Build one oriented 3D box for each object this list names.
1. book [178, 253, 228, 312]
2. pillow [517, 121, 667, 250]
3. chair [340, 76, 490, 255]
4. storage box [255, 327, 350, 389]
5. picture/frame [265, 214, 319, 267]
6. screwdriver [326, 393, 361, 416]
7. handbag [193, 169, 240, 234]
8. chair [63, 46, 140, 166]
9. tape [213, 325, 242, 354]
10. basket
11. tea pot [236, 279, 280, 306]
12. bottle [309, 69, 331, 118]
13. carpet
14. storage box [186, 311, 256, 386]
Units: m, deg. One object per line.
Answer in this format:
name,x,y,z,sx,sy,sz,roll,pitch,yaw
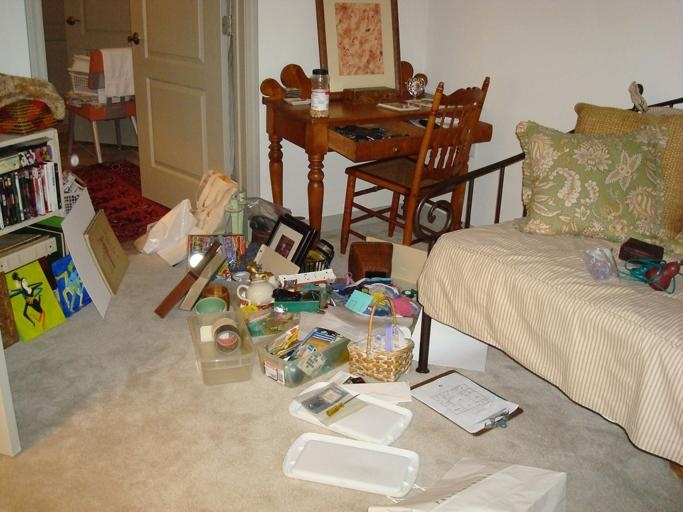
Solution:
book,-0.720,0.144,2.645,0.097,0.429,0.102,25,-14,25
pillow,1.087,-0.290,2.151,0.499,0.422,0.180,4,-18,9
chair,0.451,-0.579,3.028,0.597,1.226,0.730,-23,43,-31
storage box,-0.149,0.434,2.209,0.286,0.108,0.211,-24,37,-37
picture/frame,-0.280,-0.074,2.855,0.214,0.248,0.036,31,11,31
screwdriver,0.002,0.603,2.059,0.036,0.034,0.166,26,30,31
handbag,-0.743,-0.324,3.323,0.321,0.394,0.119,38,16,37
chair,-2.353,-1.460,4.879,0.677,1.046,0.883,-11,26,-27
tape,-0.496,0.362,2.194,0.104,0.110,0.101,1,6,-9
basket,0.166,0.347,2.208,0.263,0.355,0.268,0,15,-7
tea pot,-0.439,0.179,2.554,0.164,0.122,0.131,-2,5,-4
bottle,-0.125,-0.931,2.877,0.098,0.240,0.172,-1,23,-5
carpet,-1.546,-0.384,3.596,0.335,0.013,0.783,-21,39,-30
storage box,-0.541,0.375,2.251,0.223,0.146,0.343,-5,33,-14
